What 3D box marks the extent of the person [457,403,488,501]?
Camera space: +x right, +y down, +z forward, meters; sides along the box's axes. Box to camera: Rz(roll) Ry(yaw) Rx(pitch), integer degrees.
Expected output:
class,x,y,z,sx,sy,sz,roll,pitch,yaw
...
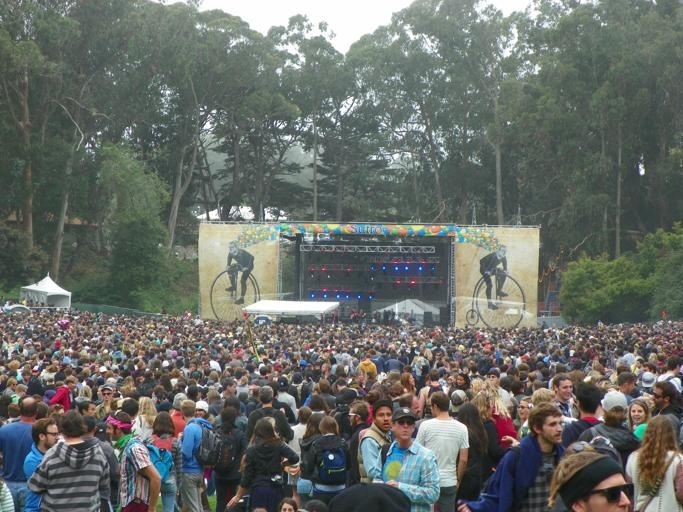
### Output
class,x,y,z,sx,sy,sz,roll,pitch,yaw
person,5.272,7.819,53.176,1.302,3.578,1.002,-1,-1,-3

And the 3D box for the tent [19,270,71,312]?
class,x,y,z,sx,sy,sz,roll,pitch,yaw
tent,-18.755,2.233,83.922,2.104,2.566,2.324,3,6,29

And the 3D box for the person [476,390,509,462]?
class,x,y,z,sx,sy,sz,roll,pitch,yaw
person,6.103,6.816,53.284,1.217,2.461,1.063,4,2,19

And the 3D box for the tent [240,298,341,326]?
class,x,y,z,sx,sy,sz,roll,pitch,yaw
tent,-2.874,3.084,75.512,5.622,1.227,2.378,1,2,-3
